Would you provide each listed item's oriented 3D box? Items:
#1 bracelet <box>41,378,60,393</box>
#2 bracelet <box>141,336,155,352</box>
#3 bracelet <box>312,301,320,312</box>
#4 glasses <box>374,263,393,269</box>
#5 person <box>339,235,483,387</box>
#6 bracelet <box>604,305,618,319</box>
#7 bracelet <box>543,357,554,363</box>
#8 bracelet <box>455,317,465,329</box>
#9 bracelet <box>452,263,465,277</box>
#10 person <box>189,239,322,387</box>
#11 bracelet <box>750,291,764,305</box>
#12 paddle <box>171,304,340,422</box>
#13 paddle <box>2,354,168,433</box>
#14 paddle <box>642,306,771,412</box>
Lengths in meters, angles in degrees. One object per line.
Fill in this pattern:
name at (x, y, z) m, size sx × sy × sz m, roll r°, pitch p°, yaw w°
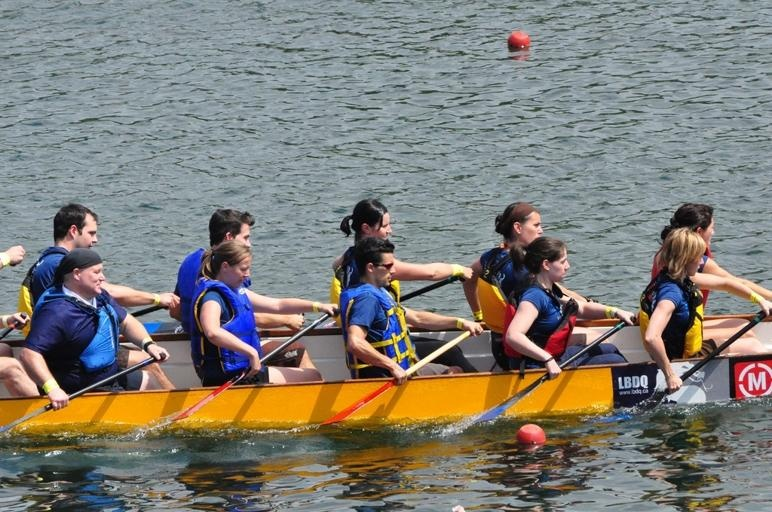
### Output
bracelet at (-4.551, 1.767, 18.204) m, size 0.240 × 0.213 × 0.160 m, roll -24°, pitch 61°, yaw -21°
bracelet at (-3.396, 1.255, 18.925) m, size 0.198 × 0.071 × 0.166 m, roll -37°, pitch -10°, yaw 19°
bracelet at (-1.014, 0.736, 19.400) m, size 0.098 × 0.126 × 0.120 m, roll -4°, pitch 42°, yaw 2°
glasses at (-0.008, 0.138, 18.647) m, size 0.274 × 0.088 × 0.070 m, roll -6°, pitch 11°, yaw -30°
person at (0.129, 0.737, 18.960) m, size 1.709 × 2.087 × 0.970 m, roll -12°, pitch 15°, yaw -43°
bracelet at (3.327, 0.850, 19.687) m, size 0.208 × 0.094 × 0.145 m, roll 7°, pitch 35°, yaw -40°
bracelet at (2.261, 1.446, 18.642) m, size 0.090 × 0.023 × 0.088 m, roll -29°, pitch -1°, yaw -4°
bracelet at (1.074, 1.001, 19.713) m, size 0.149 × 0.128 × 0.167 m, roll -11°, pitch 5°, yaw -27°
bracelet at (1.032, 0.206, 19.809) m, size 0.189 × 0.142 × 0.176 m, roll 7°, pitch -1°, yaw -36°
person at (-1.934, 0.809, 18.916) m, size 1.556 × 2.120 × 1.085 m, roll -11°, pitch 14°, yaw -37°
bracelet at (5.444, 0.620, 19.667) m, size 0.186 × 0.048 × 0.178 m, roll 27°, pitch 19°, yaw 14°
paddle at (-2.248, 1.758, 18.831) m, size 4.024 × 0.351 × 0.196 m, roll -29°, pitch 64°, yaw -31°
paddle at (-4.250, 1.945, 18.582) m, size 2.545 × 0.170 × 0.252 m, roll -22°, pitch 24°, yaw -20°
paddle at (4.588, 1.546, 19.344) m, size 2.757 × 0.243 × 0.401 m, roll -26°, pitch 21°, yaw -4°
